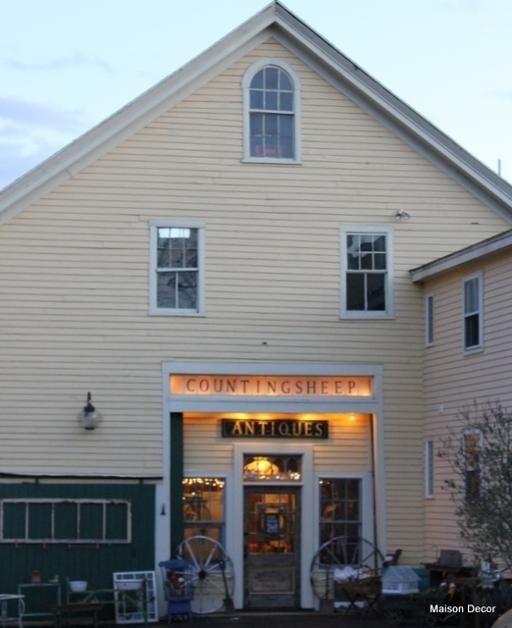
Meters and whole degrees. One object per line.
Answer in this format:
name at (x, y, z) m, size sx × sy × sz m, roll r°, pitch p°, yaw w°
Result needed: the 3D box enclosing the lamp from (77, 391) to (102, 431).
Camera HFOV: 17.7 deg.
lamp at (-2.519, 1.462, 25.147) m, size 0.335 × 0.584 × 0.214 m, roll 0°, pitch -10°, yaw -7°
